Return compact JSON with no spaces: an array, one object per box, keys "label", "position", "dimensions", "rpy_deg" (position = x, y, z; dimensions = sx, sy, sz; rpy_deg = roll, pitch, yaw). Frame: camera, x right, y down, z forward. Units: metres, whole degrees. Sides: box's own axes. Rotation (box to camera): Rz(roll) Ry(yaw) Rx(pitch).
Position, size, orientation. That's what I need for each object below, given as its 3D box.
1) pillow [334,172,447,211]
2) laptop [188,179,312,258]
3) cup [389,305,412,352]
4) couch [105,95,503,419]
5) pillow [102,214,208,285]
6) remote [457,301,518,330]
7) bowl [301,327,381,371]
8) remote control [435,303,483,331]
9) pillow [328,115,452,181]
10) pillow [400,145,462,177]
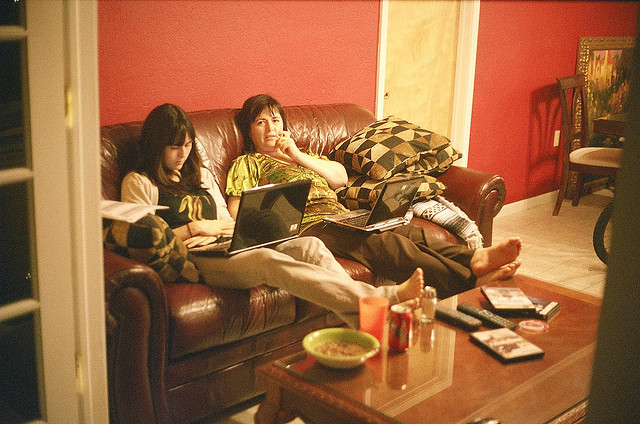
[{"label":"pillow","position":[0.454,-0.122,2.955],"dimensions":[0.709,0.167,0.719],"rpy_deg":[-5,5,-6]},{"label":"laptop","position":[-0.342,-0.048,2.168],"dimensions":[0.412,0.248,0.402],"rpy_deg":[13,19,42]},{"label":"cup","position":[0.281,0.409,1.652],"dimensions":[0.094,0.158,0.077],"rpy_deg":[-5,12,-7]},{"label":"couch","position":[-0.124,0.198,2.114],"dimensions":[1.446,0.637,0.684],"rpy_deg":[-18,32,-39]},{"label":"pillow","position":[-0.684,0.170,1.919],"dimensions":[0.345,0.331,0.130],"rpy_deg":[-9,13,-24]},{"label":"remote","position":[0.636,0.383,1.804],"dimensions":[0.142,0.020,0.082],"rpy_deg":[23,5,25]},{"label":"bowl","position":[0.069,0.458,1.574],"dimensions":[0.223,0.101,0.195],"rpy_deg":[-10,13,-30]},{"label":"remote control","position":[0.512,0.403,1.788],"dimensions":[0.138,0.027,0.068],"rpy_deg":[20,14,39]},{"label":"pillow","position":[0.357,-0.509,2.977],"dimensions":[0.489,0.157,0.529],"rpy_deg":[23,47,40]},{"label":"pillow","position":[0.745,-0.315,3.088],"dimensions":[0.277,0.081,0.238],"rpy_deg":[-28,22,-25]}]
